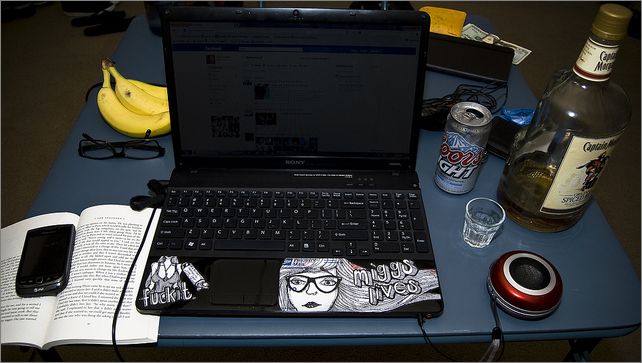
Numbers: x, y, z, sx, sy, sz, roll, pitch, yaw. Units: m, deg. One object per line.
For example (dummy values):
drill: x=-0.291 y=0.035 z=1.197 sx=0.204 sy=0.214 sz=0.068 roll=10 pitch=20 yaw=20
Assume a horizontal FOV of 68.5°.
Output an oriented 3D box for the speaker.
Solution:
speaker: x=0.581 y=0.293 z=1.333 sx=0.180 sy=0.114 sz=0.178 roll=-17 pitch=49 yaw=-19

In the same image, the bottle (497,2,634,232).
bottle: x=0.744 y=-0.158 z=1.344 sx=0.289 sy=0.590 sz=0.362 roll=25 pitch=51 yaw=19
